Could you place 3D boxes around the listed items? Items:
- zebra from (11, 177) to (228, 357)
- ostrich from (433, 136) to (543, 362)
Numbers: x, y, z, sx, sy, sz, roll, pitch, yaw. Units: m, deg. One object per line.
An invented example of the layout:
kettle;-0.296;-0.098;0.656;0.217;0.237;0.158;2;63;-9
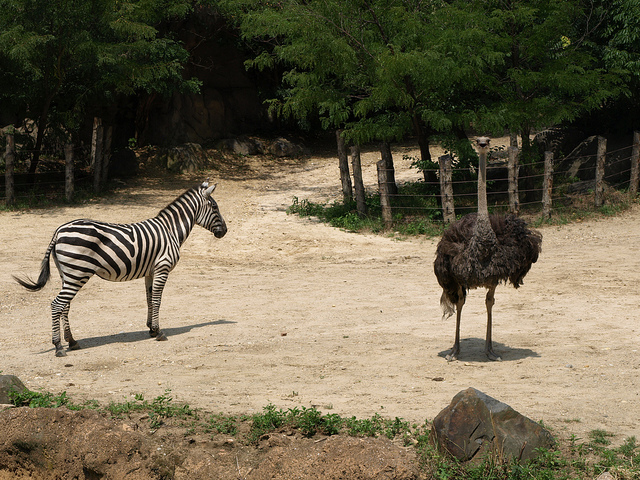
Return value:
zebra;-4.053;0.537;21.880;4.765;3.304;1.151;-4;5;-37
ostrich;3.147;0.168;20.216;1.909;4.293;0.787;-1;5;5
